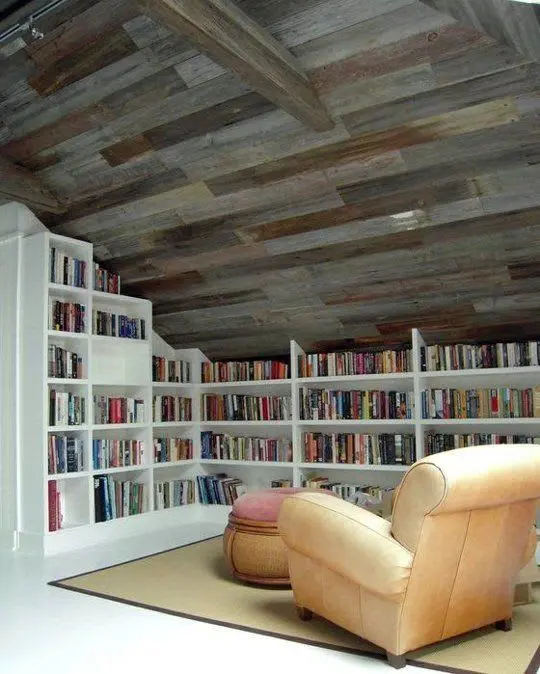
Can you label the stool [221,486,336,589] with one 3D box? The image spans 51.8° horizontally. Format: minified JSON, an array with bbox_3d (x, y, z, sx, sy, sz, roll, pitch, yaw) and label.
[{"bbox_3d":[0.068,1.049,3.230,0.753,0.435,0.688,0,-7,8],"label":"stool"}]
